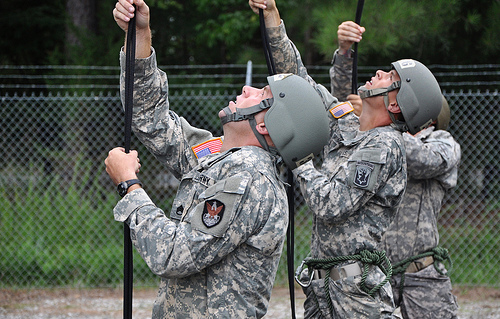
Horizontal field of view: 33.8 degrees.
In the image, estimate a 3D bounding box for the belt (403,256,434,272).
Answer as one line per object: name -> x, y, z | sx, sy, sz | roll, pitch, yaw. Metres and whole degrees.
belt -> 2.410, 1.491, 11.500 | 0.301, 0.121, 0.224 | -34, -13, 5
